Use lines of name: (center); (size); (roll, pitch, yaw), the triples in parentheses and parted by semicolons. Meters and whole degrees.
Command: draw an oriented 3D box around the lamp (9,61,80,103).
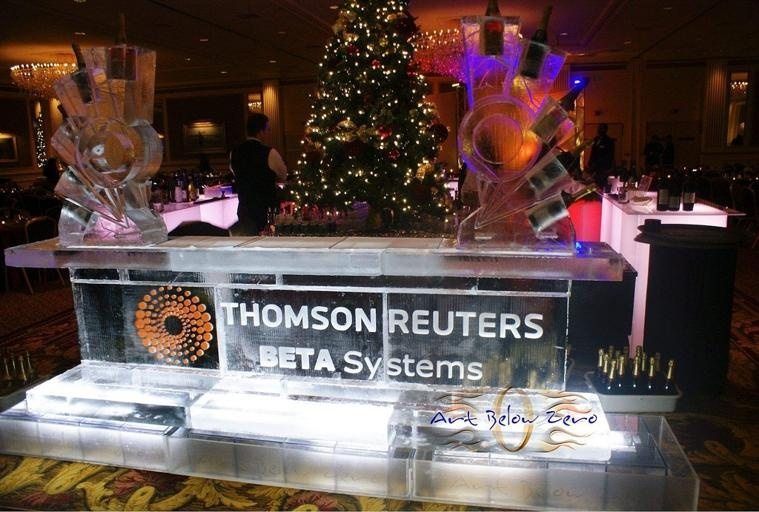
lamp: (-6.173, -3.306, 10.977); (0.978, 0.650, 1.256); (-2, 10, -22)

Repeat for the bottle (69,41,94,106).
bottle: (-1.722, -1.030, 3.409); (0.087, 0.322, 0.179); (-7, 13, -41)

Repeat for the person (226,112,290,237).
person: (-1.316, -0.898, 6.473); (0.626, 1.256, 1.240); (0, 10, -9)

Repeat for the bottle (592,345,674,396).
bottle: (1.783, 0.827, 4.190); (0.365, 0.184, 0.410); (0, 1, -2)

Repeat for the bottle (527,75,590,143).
bottle: (0.996, -0.773, 3.190); (0.264, 0.344, 0.369); (9, 12, 33)
